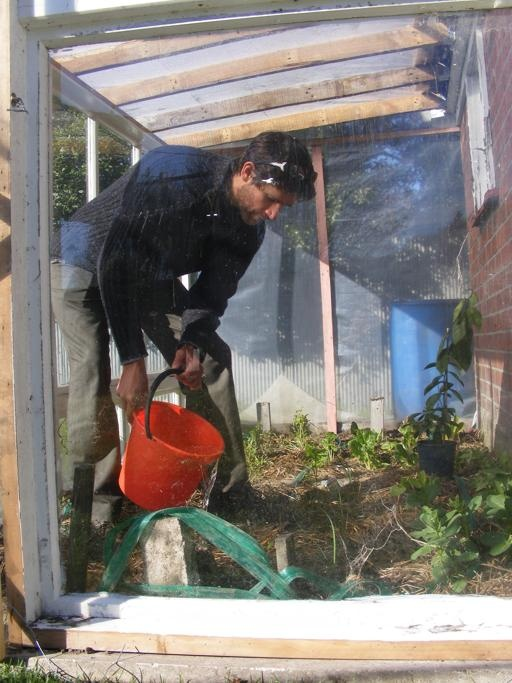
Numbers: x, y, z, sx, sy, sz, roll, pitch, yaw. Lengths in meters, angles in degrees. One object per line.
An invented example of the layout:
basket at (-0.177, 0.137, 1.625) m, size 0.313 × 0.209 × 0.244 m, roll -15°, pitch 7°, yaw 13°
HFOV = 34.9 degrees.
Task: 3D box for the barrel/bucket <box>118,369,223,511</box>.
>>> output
barrel/bucket at (-0.235, 0.289, 2.370) m, size 0.272 × 0.411 × 0.268 m, roll -1°, pitch -6°, yaw 0°

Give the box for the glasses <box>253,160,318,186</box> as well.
glasses at (0.079, -0.473, 2.337) m, size 0.115 × 0.045 × 0.087 m, roll 2°, pitch 1°, yaw 41°

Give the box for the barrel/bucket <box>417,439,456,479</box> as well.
barrel/bucket at (0.496, 0.325, 2.249) m, size 0.103 × 0.081 × 0.107 m, roll 2°, pitch 1°, yaw 0°
